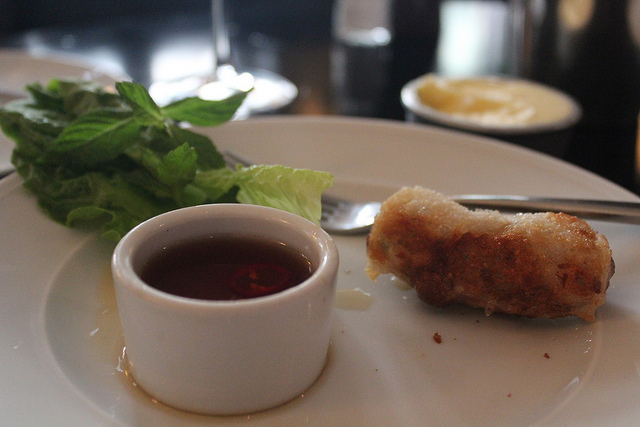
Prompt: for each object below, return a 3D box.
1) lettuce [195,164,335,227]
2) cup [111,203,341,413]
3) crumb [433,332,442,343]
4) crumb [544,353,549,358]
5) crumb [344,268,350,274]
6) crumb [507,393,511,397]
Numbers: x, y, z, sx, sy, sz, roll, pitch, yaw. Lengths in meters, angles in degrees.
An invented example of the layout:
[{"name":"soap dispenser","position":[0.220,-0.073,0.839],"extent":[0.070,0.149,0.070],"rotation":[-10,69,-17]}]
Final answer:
[{"name":"lettuce","position":[-0.119,-0.067,1.289],"extent":[0.076,0.129,0.429],"rotation":[7,9,-41]},{"name":"cup","position":[-0.184,0.170,1.145],"extent":[0.425,0.252,0.410],"rotation":[4,26,-2]},{"name":"crumb","position":[0.236,0.249,1.148],"extent":[0.017,0.004,0.022],"rotation":[3,34,4]},{"name":"crumb","position":[0.441,0.275,1.110],"extent":[0.009,0.002,0.010],"rotation":[13,36,18]},{"name":"crumb","position":[0.061,0.129,1.300],"extent":[0.012,0.003,0.018],"rotation":[5,34,6]},{"name":"crumb","position":[0.349,0.334,1.052],"extent":[0.006,0.001,0.009],"rotation":[10,35,14]}]
